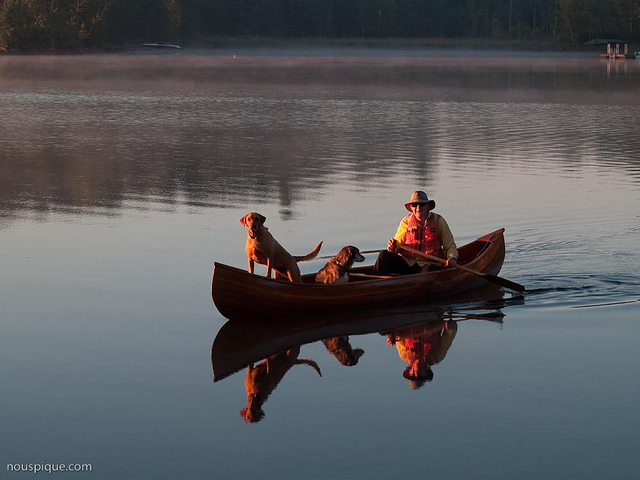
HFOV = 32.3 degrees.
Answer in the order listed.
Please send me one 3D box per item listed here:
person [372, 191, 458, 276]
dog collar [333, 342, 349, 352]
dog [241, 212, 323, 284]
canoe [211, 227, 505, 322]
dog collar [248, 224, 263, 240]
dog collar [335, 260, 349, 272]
[{"bbox_3d":[1.374,0.082,16.242,1.316,1.612,1.035,1,0,-8],"label":"person"},{"bbox_3d":[0.311,1.416,14.704,0.063,0.038,0.234,6,11,35],"label":"dog collar"},{"bbox_3d":[-0.594,0.253,15.415,0.453,0.852,1.510,-11,-24,37],"label":"dog"},{"bbox_3d":[0.822,0.654,16.278,5.056,0.959,1.138,-7,7,-28],"label":"canoe"},{"bbox_3d":[-0.883,-0.113,15.002,0.137,0.177,0.165,13,-19,49],"label":"dog collar"},{"bbox_3d":[0.323,0.373,15.501,0.161,0.041,0.155,29,-1,41],"label":"dog collar"}]
